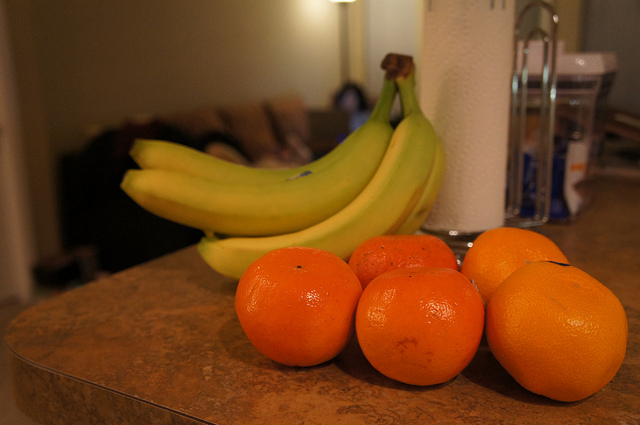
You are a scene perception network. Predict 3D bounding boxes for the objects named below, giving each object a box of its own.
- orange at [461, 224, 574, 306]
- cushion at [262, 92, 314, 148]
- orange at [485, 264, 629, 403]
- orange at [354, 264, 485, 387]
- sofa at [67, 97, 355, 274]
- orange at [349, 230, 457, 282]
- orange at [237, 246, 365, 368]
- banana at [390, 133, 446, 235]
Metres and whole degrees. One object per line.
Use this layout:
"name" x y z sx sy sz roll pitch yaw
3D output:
"orange" 0.309 0.060 0.880 0.124 0.069 0.131 -15 31 -16
"cushion" -0.213 -0.625 3.583 0.130 0.399 0.409 -11 4 33
"orange" 0.365 0.170 0.848 0.193 0.188 0.187 5 11 28
"orange" 0.156 0.180 0.869 0.195 0.189 0.193 1 3 42
"sofa" -0.349 -0.316 3.315 0.536 0.870 2.330 26 24 24
"orange" 0.130 0.086 0.944 0.157 0.098 0.168 -3 -3 -21
"orange" -0.022 0.130 0.861 0.173 0.136 0.166 18 24 41
"banana" 0.205 -0.051 1.048 0.049 0.168 0.118 8 4 -31
